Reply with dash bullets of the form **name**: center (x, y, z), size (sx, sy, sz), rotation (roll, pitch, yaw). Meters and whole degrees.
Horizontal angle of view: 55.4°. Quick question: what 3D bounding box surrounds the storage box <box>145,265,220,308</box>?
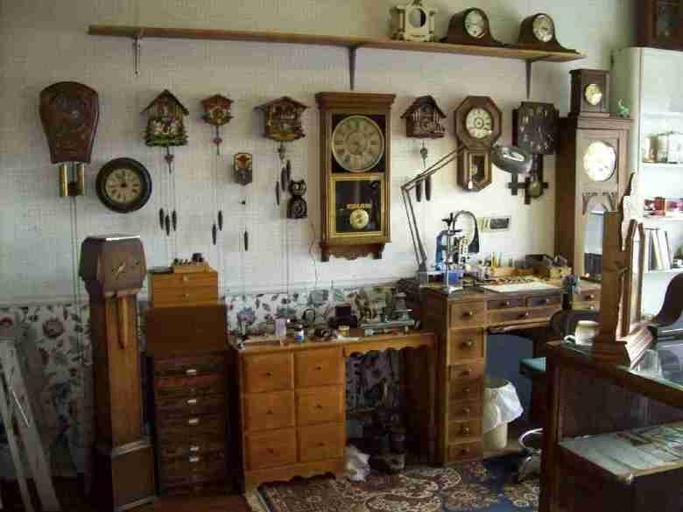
- **storage box**: center (-1.177, 0.231, 4.888), size (0.458, 0.243, 0.331), rotation (-1, 9, -14)

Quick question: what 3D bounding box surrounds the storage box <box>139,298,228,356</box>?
- **storage box**: center (-1.195, 0.419, 5.034), size (0.619, 0.400, 0.370), rotation (0, 1, -13)

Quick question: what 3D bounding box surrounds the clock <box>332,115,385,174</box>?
- **clock**: center (0.119, -0.953, 5.435), size (0.496, 0.501, 0.049), rotation (0, 2, -14)

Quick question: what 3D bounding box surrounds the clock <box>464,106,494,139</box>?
- **clock**: center (1.237, -1.199, 5.833), size (0.269, 0.271, 0.063), rotation (-8, 10, -29)

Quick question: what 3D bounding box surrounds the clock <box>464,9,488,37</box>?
- **clock**: center (1.143, -1.993, 5.559), size (0.215, 0.215, 0.076), rotation (5, 6, -39)

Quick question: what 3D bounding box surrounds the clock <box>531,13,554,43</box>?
- **clock**: center (1.789, -2.025, 5.756), size (0.248, 0.242, 0.057), rotation (-35, 21, -31)

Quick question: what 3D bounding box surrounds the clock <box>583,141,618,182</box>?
- **clock**: center (2.385, -0.899, 6.031), size (0.380, 0.444, 0.056), rotation (0, 3, -13)

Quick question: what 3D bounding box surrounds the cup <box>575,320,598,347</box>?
- **cup**: center (1.229, 0.389, 3.257), size (0.110, 0.109, 0.112), rotation (1, 0, 0)

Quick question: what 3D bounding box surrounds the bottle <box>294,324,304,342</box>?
- **bottle**: center (-0.335, 0.622, 5.246), size (0.103, 0.154, 0.105), rotation (-1, 3, 0)

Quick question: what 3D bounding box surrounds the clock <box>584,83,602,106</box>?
- **clock**: center (2.291, -1.474, 5.925), size (0.180, 0.186, 0.044), rotation (-10, 4, -11)
